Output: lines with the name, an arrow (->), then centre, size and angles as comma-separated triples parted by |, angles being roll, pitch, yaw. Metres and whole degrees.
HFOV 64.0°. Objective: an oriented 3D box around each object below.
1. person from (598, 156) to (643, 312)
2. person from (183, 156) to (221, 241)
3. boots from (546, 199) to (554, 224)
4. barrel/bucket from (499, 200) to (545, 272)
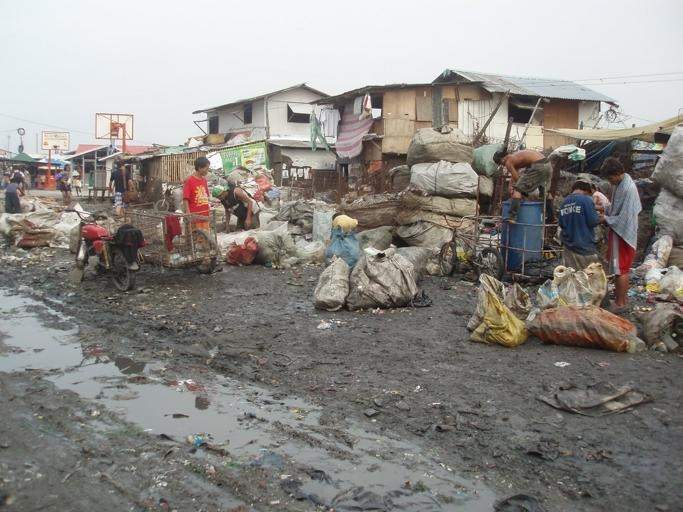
person -> 3.323, -0.287, 6.476 | 0.395, 1.779, 0.458 | -2, 13, -6
person -> -2.291, -1.002, 8.615 | 0.430, 1.206, 1.393 | -3, 12, -13
boots -> 3.018, -0.708, 7.923 | 0.137, 0.349, 0.106 | 0, 13, 4
barrel/bucket -> 2.530, -0.323, 7.650 | 0.607, 1.012, 0.263 | 6, 14, 26
